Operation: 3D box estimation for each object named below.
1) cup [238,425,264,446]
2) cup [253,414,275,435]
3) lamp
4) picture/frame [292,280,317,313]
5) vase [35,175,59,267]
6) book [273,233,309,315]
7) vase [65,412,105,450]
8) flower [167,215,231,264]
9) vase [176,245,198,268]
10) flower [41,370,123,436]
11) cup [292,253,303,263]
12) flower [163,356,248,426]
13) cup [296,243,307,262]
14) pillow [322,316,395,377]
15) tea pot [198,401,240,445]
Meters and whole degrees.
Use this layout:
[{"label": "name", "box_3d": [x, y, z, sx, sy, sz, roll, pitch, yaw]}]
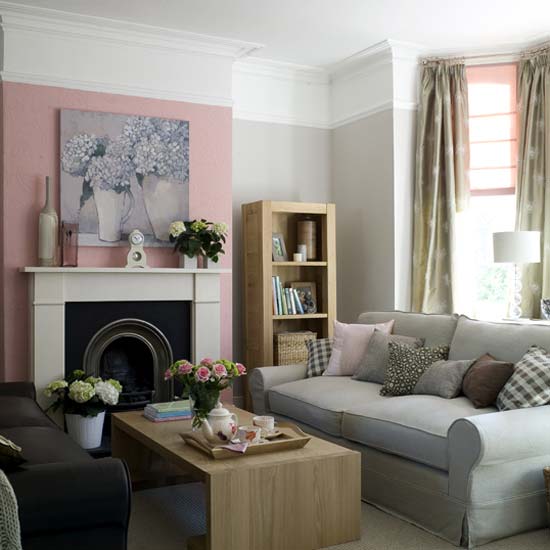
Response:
[{"label": "cup", "box_3d": [-0.104, 0.688, 2.339, 0.056, 0.068, 0.079, 0, -2, -15]}, {"label": "cup", "box_3d": [-0.049, 0.692, 2.532, 0.068, 0.076, 0.096, -1, -4, -6]}, {"label": "lamp", "box_3d": [1.884, 0.006, 4.261, 0.329, 0.704, 0.594, -1, 2, 27]}, {"label": "picture/frame", "box_3d": [0.283, 0.202, 4.997, 0.242, 0.266, 0.056, 5, -5, -36]}, {"label": "vase", "box_3d": [-1.605, -0.388, 3.845, 0.150, 0.441, 0.133, -3, 2, -24]}, {"label": "book", "box_3d": [0.111, -0.013, 4.883, 0.275, 0.731, 0.332, -2, 2, 4]}, {"label": "vase", "box_3d": [-1.232, 0.989, 3.616, 0.273, 0.245, 0.247, -2, -2, 42]}, {"label": "flower", "box_3d": [-0.607, -0.279, 4.284, 0.485, 0.275, 0.475, 3, -8, -26]}, {"label": "vase", "box_3d": [-0.683, -0.142, 4.189, 0.129, 0.231, 0.145, -1, 2, -6]}, {"label": "flower", "box_3d": [-1.274, 0.788, 3.607, 0.420, 0.361, 0.422, 8, 6, 42]}, {"label": "cup", "box_3d": [0.208, -0.157, 4.900, 0.068, 0.058, 0.069, 0, -3, 0]}, {"label": "flower", "box_3d": [-0.282, 0.551, 2.627, 0.266, 0.283, 0.298, -1, -9, 17]}, {"label": "cup", "box_3d": [0.245, -0.207, 4.948, 0.113, 0.225, 0.119, 0, -1, 0]}, {"label": "pillow", "box_3d": [0.577, 0.500, 3.714, 0.307, 0.341, 0.125, 4, -12, 24]}, {"label": "tea pot", "box_3d": [-0.246, 0.664, 2.441, 0.150, 0.201, 0.223, -1, -3, 30]}]
